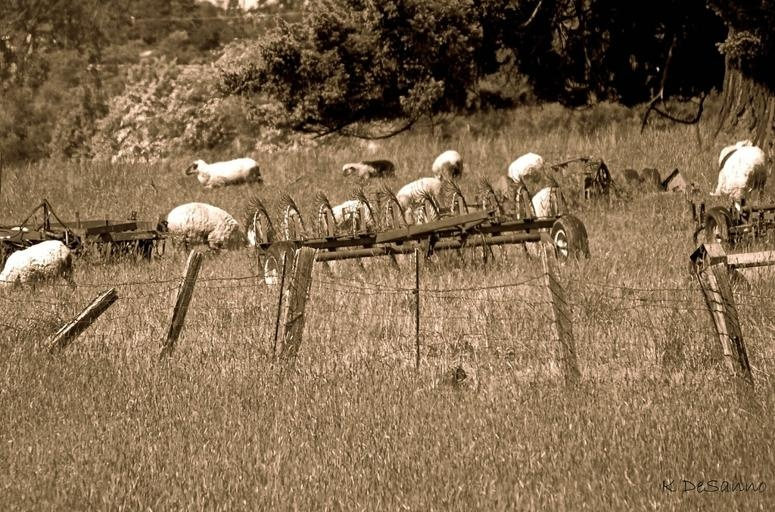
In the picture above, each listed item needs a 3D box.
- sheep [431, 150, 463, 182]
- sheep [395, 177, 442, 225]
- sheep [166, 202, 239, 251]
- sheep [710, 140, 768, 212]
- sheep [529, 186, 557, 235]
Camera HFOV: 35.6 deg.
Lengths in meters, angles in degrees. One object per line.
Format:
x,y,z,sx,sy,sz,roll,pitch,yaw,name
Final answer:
2.457,-3.513,48.182,1.224,0.833,1.538,-10,41,8,sheep
1.102,-2.436,43.902,1.978,1.630,1.141,-24,23,-23,sheep
-6.298,-1.029,41.771,2.524,1.938,1.272,1,19,-3,sheep
12.906,-3.178,44.319,1.719,2.100,3.484,3,36,14,sheep
5.226,-1.700,40.944,0.916,0.480,1.363,-28,52,36,sheep
